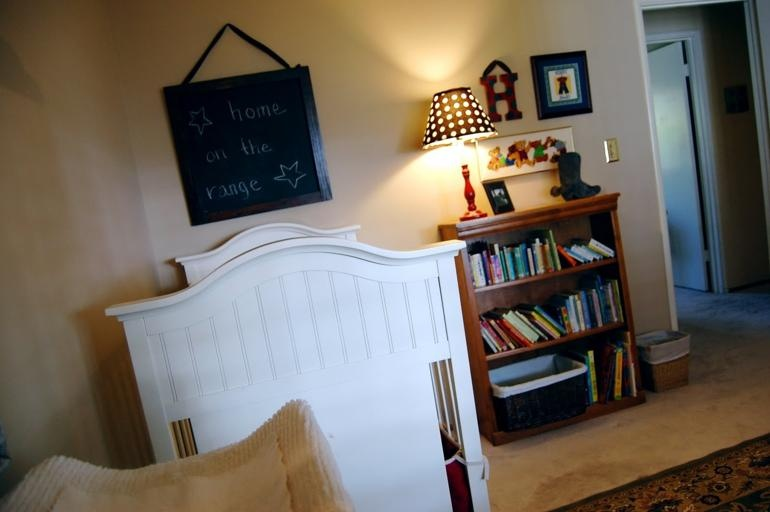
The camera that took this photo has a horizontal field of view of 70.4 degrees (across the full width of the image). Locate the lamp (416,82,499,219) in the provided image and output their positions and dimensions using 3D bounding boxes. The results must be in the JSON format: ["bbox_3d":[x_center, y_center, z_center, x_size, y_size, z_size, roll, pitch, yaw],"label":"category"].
[{"bbox_3d":[0.482,-0.655,3.562,0.468,0.828,0.352,-8,9,6],"label":"lamp"}]

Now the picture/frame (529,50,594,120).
[{"bbox_3d":[1.208,-1.204,3.831,0.426,0.453,0.035,-7,-1,-12],"label":"picture/frame"}]

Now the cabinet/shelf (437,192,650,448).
[{"bbox_3d":[0.962,0.430,3.429,1.206,1.609,0.411,-14,-2,-16],"label":"cabinet/shelf"}]

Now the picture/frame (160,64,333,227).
[{"bbox_3d":[-0.928,-0.707,3.443,0.827,0.812,0.080,-15,8,-8],"label":"picture/frame"}]

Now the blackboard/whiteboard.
[{"bbox_3d":[-0.921,-0.706,3.444,0.815,0.802,0.079,-15,9,-8],"label":"blackboard/whiteboard"}]

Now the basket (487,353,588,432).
[{"bbox_3d":[0.963,0.861,3.562,0.562,0.312,0.399,-13,11,-13],"label":"basket"}]

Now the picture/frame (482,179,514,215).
[{"bbox_3d":[0.746,-0.391,3.687,0.214,0.302,0.030,-13,-17,-25],"label":"picture/frame"}]

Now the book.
[{"bbox_3d":[1.069,0.430,3.581,0.936,1.155,0.358,-11,1,-13],"label":"book"}]

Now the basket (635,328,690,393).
[{"bbox_3d":[1.897,0.714,3.818,0.429,0.359,0.348,-3,-1,-20],"label":"basket"}]

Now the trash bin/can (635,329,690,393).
[{"bbox_3d":[1.913,0.684,3.854,0.330,0.394,0.426,-12,17,9],"label":"trash bin/can"}]
